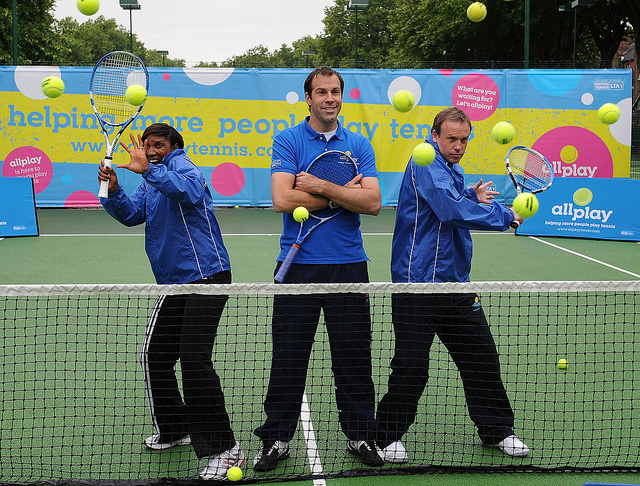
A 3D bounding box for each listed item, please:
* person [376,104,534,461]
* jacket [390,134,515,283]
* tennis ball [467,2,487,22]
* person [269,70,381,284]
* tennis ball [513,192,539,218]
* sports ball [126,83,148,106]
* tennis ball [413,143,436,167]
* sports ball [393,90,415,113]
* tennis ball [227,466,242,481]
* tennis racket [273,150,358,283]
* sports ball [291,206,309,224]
[{"bbox_3d":[1.086,0.329,5.757,1.173,2.802,1.117,1,14,6],"label":"person"},{"bbox_3d":[1.040,-0.213,5.658,0.883,1.154,0.506,0,14,5],"label":"jacket"},{"bbox_3d":[2.148,-3.126,9.405,0.253,0.257,0.254,38,19,-15],"label":"tennis ball"},{"bbox_3d":[0.028,-0.195,5.827,0.836,2.449,0.665,-4,12,-24],"label":"person"},{"bbox_3d":[1.693,-0.309,5.681,0.189,0.222,0.287,3,15,16],"label":"tennis ball"},{"bbox_3d":[-1.630,-1.314,6.233,0.179,0.189,0.177,-14,16,4],"label":"sports ball"},{"bbox_3d":[0.849,-0.708,5.574,0.180,0.181,0.214,2,15,9],"label":"tennis ball"},{"bbox_3d":[0.745,-1.263,6.230,0.175,0.190,0.179,7,10,-1],"label":"sports ball"},{"bbox_3d":[-0.666,1.795,5.405,0.081,0.088,0.086,8,30,-5],"label":"tennis ball"},{"bbox_3d":[-0.014,-0.253,5.786,0.474,1.282,0.082,27,-3,9],"label":"tennis racket"},{"bbox_3d":[-0.154,-0.211,5.522,0.123,0.132,0.121,3,-6,0],"label":"sports ball"}]
